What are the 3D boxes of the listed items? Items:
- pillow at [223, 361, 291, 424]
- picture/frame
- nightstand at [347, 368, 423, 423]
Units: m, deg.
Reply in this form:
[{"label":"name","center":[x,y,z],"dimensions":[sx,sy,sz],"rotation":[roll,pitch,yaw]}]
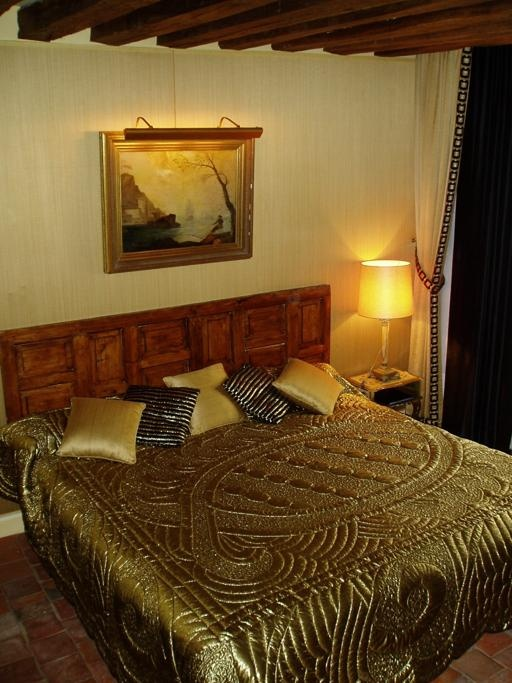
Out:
[{"label":"pillow","center":[0.002,0.344,3.487],"dimensions":[0.419,0.098,0.286],"rotation":[38,61,15]},{"label":"picture/frame","center":[-0.551,-0.940,3.453],"dimensions":[0.962,0.798,0.120],"rotation":[-12,32,-28]},{"label":"nightstand","center":[1.073,0.561,4.675],"dimensions":[0.600,0.536,0.448],"rotation":[-7,16,-31]}]
